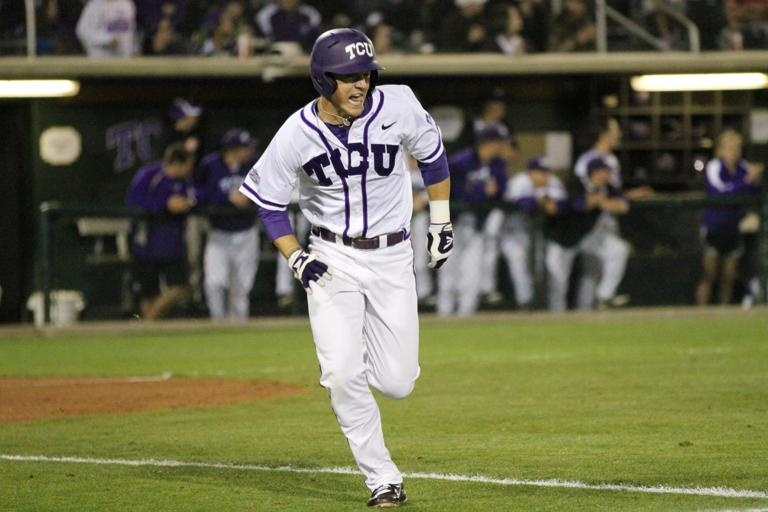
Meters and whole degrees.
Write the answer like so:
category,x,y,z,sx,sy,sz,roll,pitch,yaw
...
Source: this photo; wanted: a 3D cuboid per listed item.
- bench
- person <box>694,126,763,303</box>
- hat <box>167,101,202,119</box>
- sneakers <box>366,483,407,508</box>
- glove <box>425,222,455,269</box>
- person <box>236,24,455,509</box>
category,x,y,z,sx,sy,sz,roll,pitch,yaw
bench,-2.561,0.025,18.057,2.216,1.183,0.503,0,-1,-14
person,4.145,-0.472,18.561,0.846,2.059,0.588,0,2,0
hat,-2.502,-1.871,19.065,0.383,0.268,0.143,-1,2,-8
sneakers,0.008,2.018,12.925,0.341,0.141,0.151,9,-16,-41
glove,0.490,-0.104,13.461,0.241,0.374,0.160,3,5,11
person,-0.262,0.053,13.150,1.667,4.071,0.640,0,2,2
